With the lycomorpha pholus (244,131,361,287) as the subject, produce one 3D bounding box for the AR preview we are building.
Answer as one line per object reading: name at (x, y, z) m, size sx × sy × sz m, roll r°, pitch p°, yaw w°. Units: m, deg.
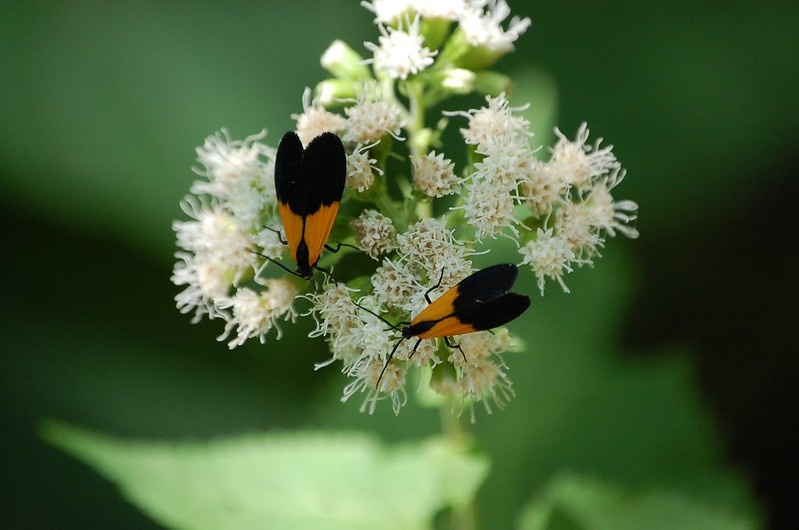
lycomorpha pholus at (-0.281, -0.208, 2.295) m, size 0.214 × 0.294 × 0.296 m, roll 7°, pitch -38°, yaw 0°
